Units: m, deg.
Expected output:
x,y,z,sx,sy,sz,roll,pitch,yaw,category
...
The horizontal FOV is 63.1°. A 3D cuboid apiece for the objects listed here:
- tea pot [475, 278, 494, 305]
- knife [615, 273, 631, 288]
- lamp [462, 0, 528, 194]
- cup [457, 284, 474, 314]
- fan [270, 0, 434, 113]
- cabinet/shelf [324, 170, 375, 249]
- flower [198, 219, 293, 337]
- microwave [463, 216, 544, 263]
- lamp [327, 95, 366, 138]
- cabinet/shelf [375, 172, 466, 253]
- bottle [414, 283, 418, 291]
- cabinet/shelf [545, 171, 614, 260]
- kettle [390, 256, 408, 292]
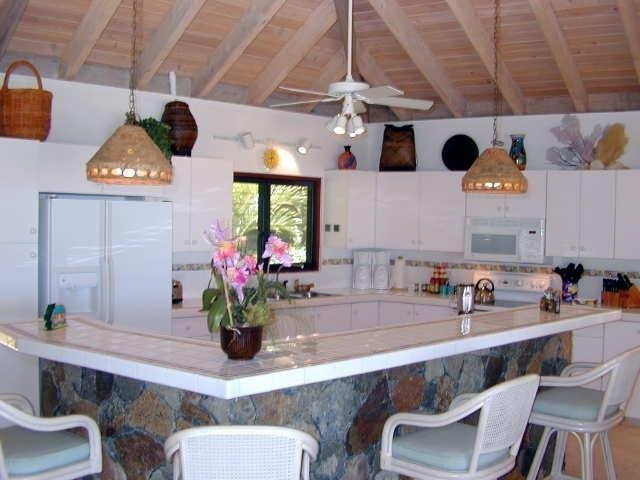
x,y,z,sx,sy,sz,roll,pitch,yaw,category
1.959,0.611,6.152,0.324,0.337,0.195,3,-3,-43,tea pot
3.353,0.457,5.767,0.157,0.156,0.209,1,3,19,knife
1.758,-1.378,4.978,0.428,1.965,3.238,1,3,21,lamp
1.005,0.411,3.602,0.090,0.222,0.259,1,3,10,cup
0.327,-2.045,5.634,1.510,1.546,1.435,0,8,-7,fan
0.388,-0.392,6.651,0.665,0.963,0.189,1,2,7,cabinet/shelf
-0.349,0.241,2.507,0.393,0.557,0.446,-7,2,-24,flower
2.180,-0.011,6.101,0.795,0.542,0.498,2,1,33,microwave
0.209,-0.862,3.620,0.227,0.286,0.557,1,3,19,lamp
1.285,-0.358,6.438,0.938,0.867,0.377,2,2,22,cabinet/shelf
1.277,0.618,6.868,0.057,0.080,0.186,1,3,10,bottle
2.993,-0.277,6.126,0.923,1.337,0.802,1,3,29,cabinet/shelf
1.023,0.435,6.812,0.205,0.434,0.188,1,2,8,kettle
